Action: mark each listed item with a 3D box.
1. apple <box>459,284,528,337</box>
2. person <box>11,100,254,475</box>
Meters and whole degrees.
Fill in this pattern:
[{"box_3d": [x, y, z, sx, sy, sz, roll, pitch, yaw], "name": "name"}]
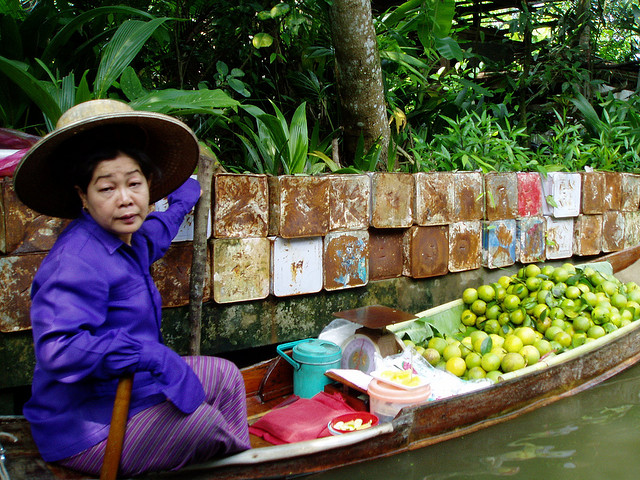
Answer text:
[{"box_3d": [1.291, 0.522, 4.436, 0.352, 0.202, 0.350, 1, 22, -10], "name": "apple"}, {"box_3d": [-0.968, 0.242, 3.014, 0.975, 1.906, 0.558, -3, -2, -31], "name": "person"}]
